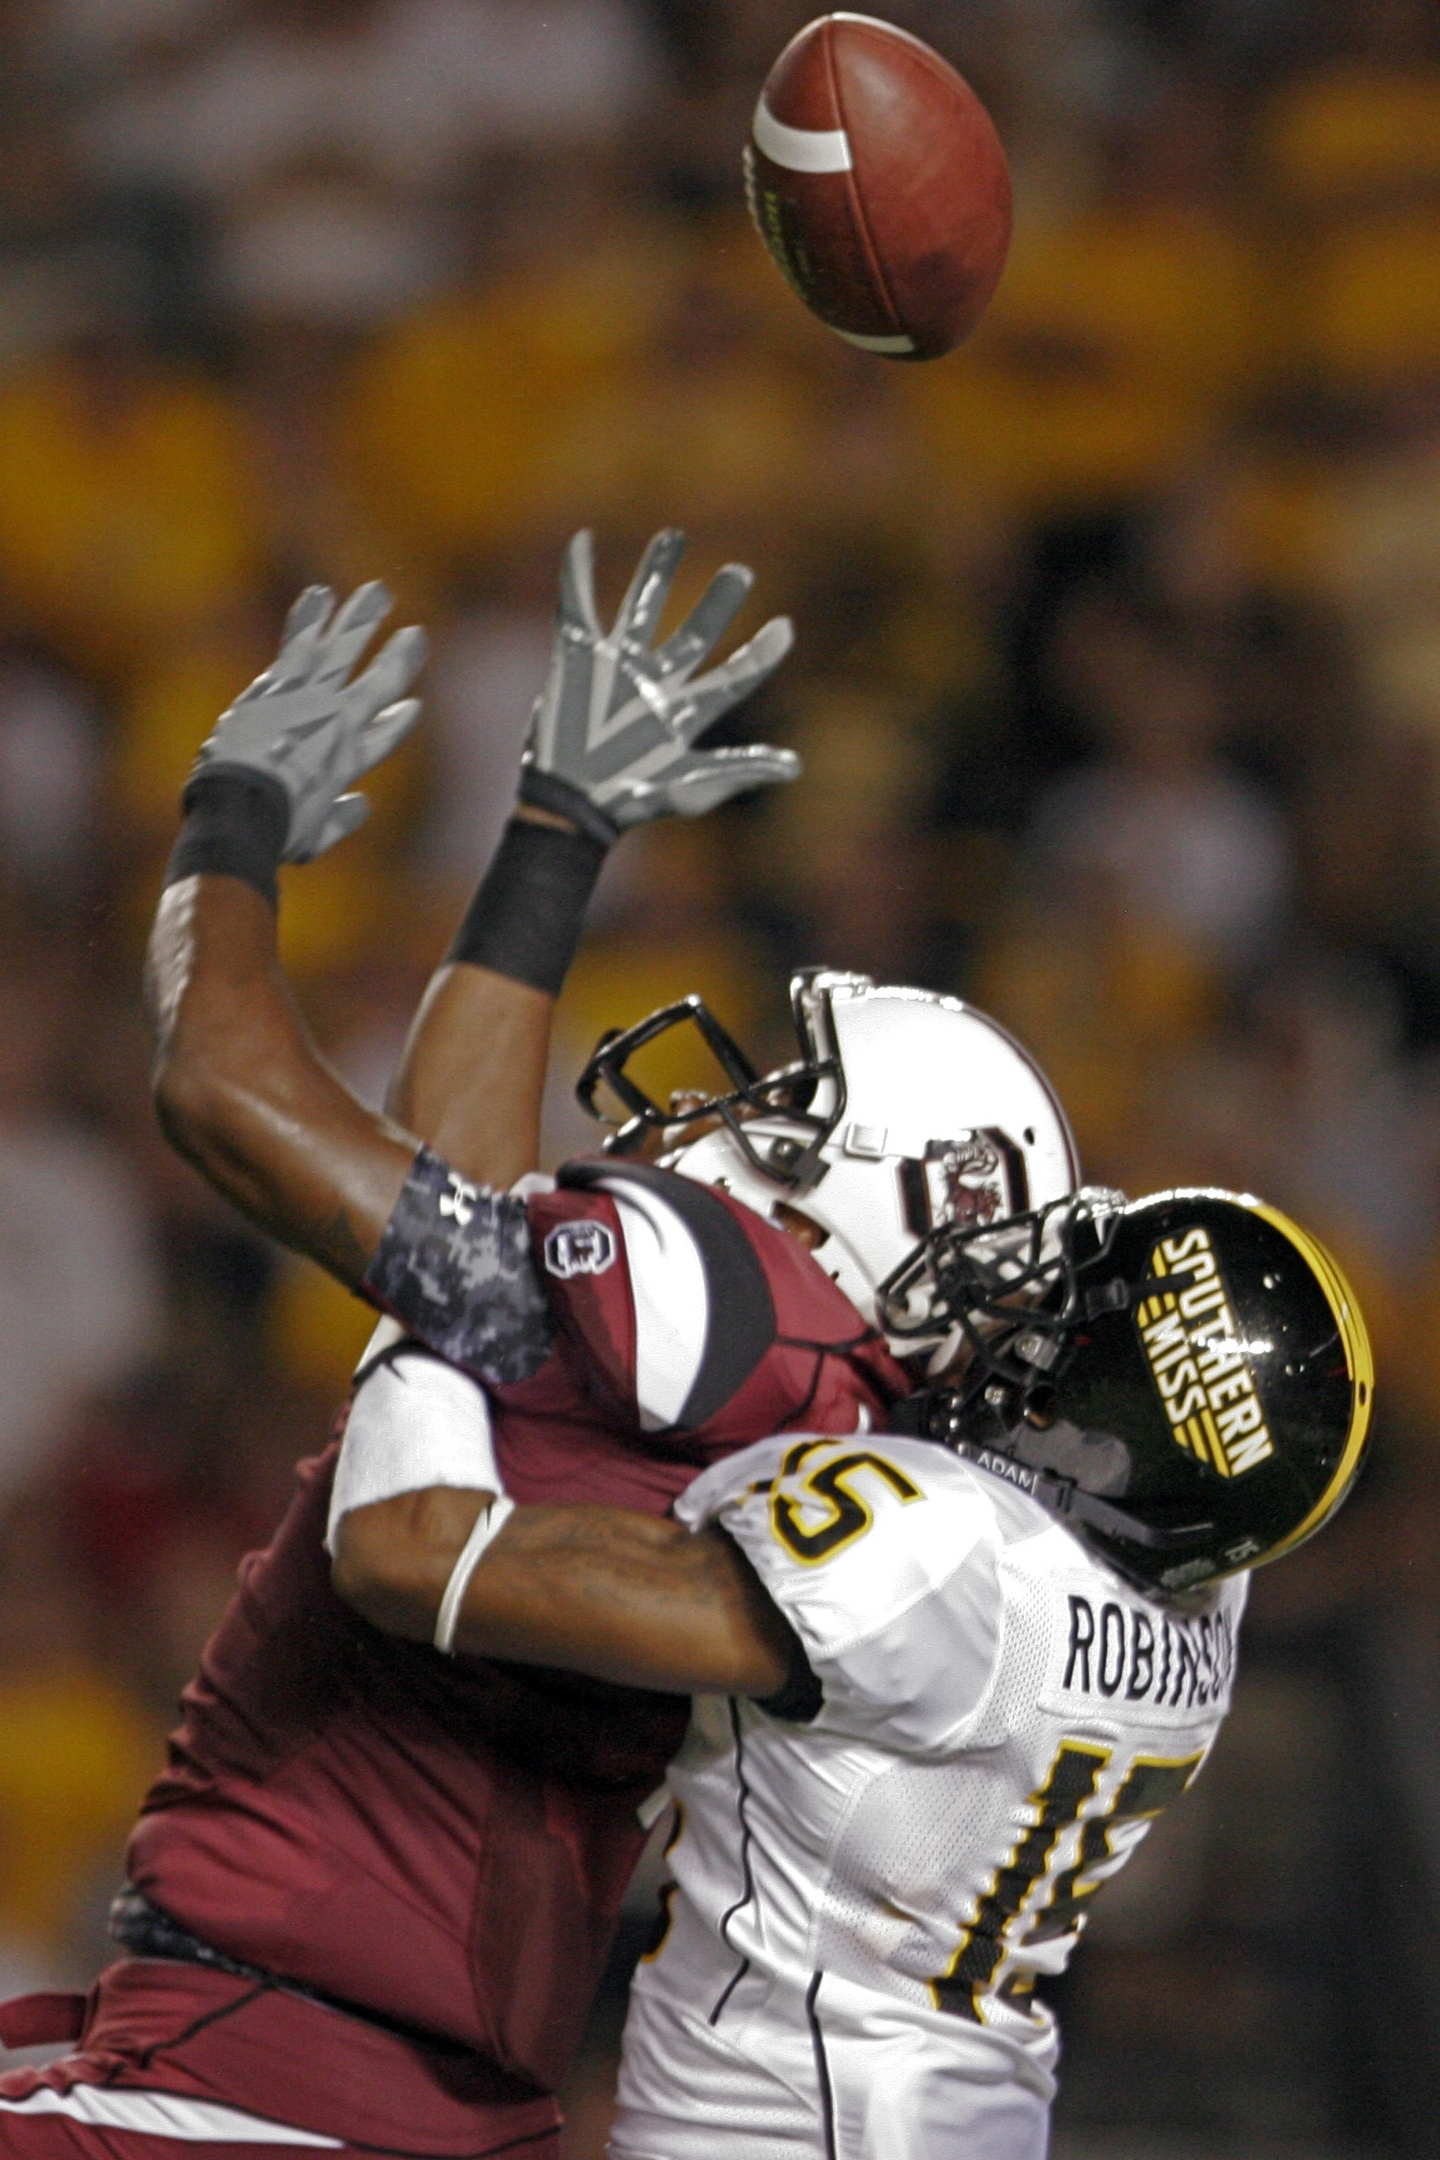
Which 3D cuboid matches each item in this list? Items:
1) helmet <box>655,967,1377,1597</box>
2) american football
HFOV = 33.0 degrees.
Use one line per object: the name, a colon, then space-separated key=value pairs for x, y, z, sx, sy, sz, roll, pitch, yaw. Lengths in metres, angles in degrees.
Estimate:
helmet: x=0.240 y=0.162 z=1.778 sx=0.387 sy=0.288 sz=0.259 roll=31 pitch=86 yaw=41
american football: x=0.160 y=-0.870 z=2.384 sx=0.252 sy=0.309 sz=0.240 roll=-2 pitch=38 yaw=-3
